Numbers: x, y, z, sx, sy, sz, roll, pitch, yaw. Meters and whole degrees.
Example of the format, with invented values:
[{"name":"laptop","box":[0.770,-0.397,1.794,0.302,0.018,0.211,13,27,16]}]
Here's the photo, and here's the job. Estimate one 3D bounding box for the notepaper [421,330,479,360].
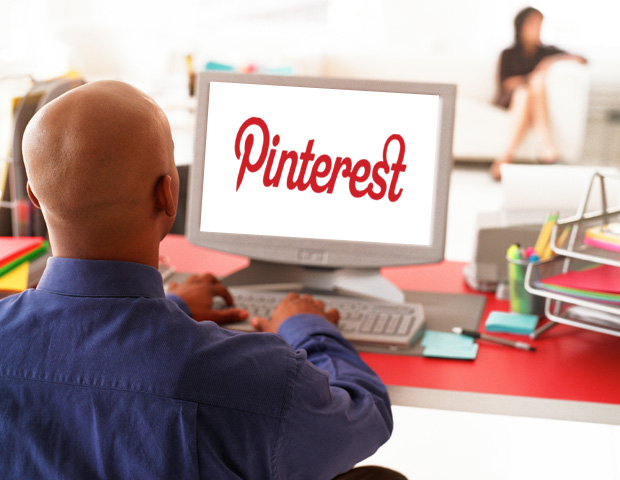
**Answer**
[{"name":"notepaper","box":[0.289,0.217,1.242,0.116,0.019,0.119,4,12,13]}]
